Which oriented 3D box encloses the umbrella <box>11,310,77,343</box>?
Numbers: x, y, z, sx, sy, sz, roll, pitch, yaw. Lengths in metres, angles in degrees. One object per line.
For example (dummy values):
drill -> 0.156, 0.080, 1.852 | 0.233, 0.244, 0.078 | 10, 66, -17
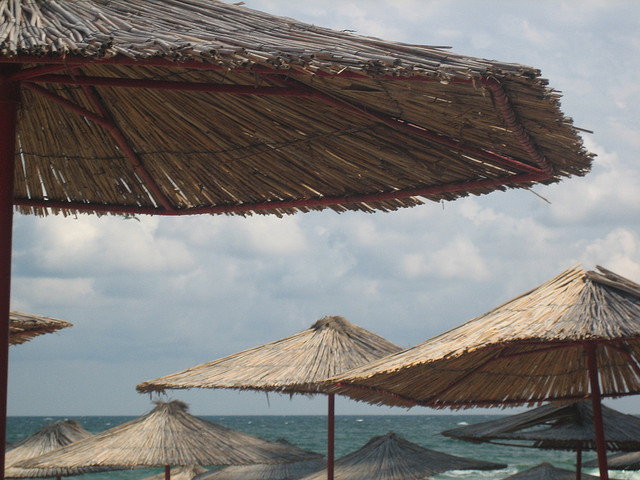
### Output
umbrella -> -3.836, 1.168, 17.971 | 0.778, 0.401, 1.274 | 1, -12, -11
